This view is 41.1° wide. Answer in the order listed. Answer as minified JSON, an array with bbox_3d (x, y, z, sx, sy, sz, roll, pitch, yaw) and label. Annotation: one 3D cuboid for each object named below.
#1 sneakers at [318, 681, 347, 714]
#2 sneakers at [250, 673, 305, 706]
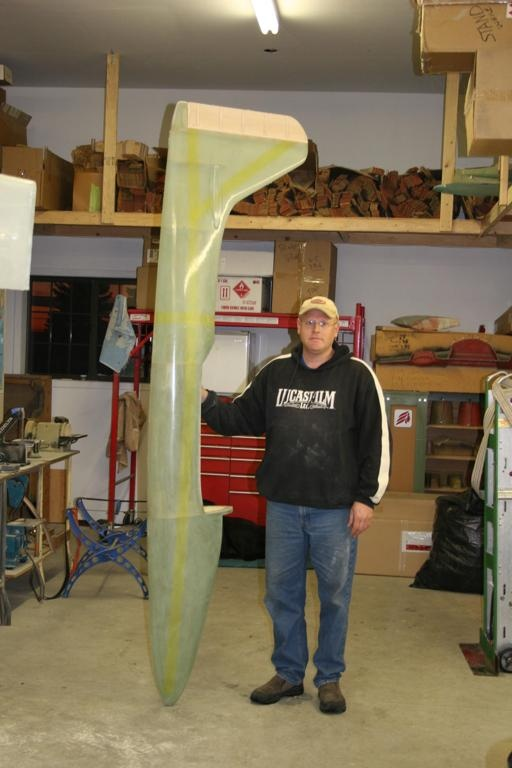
[{"bbox_3d":[0.309,1.243,2.696,0.070,0.069,0.163,0,-14,-1],"label":"sneakers"},{"bbox_3d":[0.085,1.255,2.841,0.266,0.110,0.089,2,-8,-25],"label":"sneakers"}]
